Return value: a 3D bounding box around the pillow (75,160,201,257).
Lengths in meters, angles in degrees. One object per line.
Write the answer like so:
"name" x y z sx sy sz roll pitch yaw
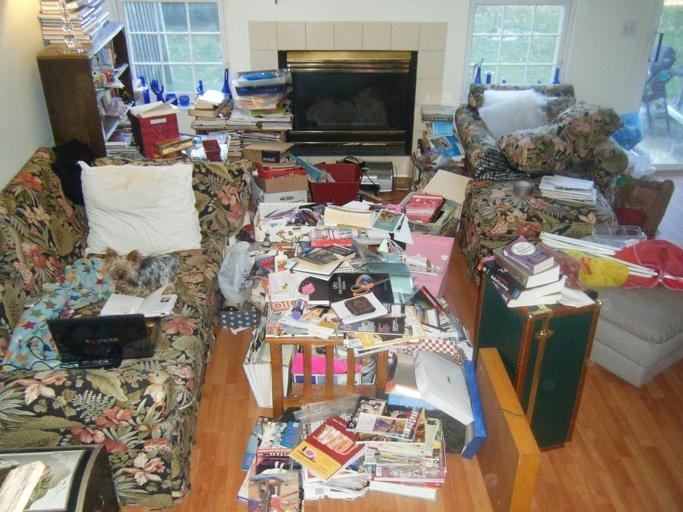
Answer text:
"pillow" -1.313 -0.283 3.276 0.746 0.552 0.223 -2 2 -10

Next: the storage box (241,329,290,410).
"storage box" -0.410 0.635 2.894 0.340 0.133 0.396 0 37 -2

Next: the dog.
"dog" -1.194 0.075 3.101 0.258 0.245 0.428 21 20 34

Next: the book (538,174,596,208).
"book" 1.682 -0.485 3.790 0.312 0.088 0.283 9 33 18

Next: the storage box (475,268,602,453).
"storage box" 0.963 0.527 2.551 0.403 0.928 0.621 -6 32 -2

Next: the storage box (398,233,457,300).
"storage box" 0.541 0.070 3.299 0.430 0.492 0.297 7 32 11

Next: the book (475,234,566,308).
"book" 0.893 0.095 2.602 0.400 0.212 0.351 -12 38 -6

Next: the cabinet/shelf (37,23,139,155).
"cabinet/shelf" -1.879 -1.197 3.745 0.423 0.800 1.265 0 38 -11

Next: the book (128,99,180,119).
"book" -1.552 -1.195 4.185 0.458 0.100 0.407 -4 23 -10

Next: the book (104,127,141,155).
"book" -1.762 -0.918 4.159 0.286 0.058 0.236 -3 54 -5

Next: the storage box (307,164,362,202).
"storage box" -0.028 -0.623 4.648 0.428 0.199 0.466 0 25 2

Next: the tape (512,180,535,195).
"tape" 1.352 -0.494 3.803 0.141 0.074 0.126 -19 42 -9

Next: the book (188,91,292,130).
"book" -0.957 -1.368 4.910 0.939 0.330 0.433 -3 27 -6

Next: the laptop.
"laptop" -1.154 0.389 2.568 0.496 0.265 0.330 -3 15 5

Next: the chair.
"chair" -0.118 0.604 2.858 0.902 0.419 0.604 0 -9 -2

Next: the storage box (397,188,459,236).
"storage box" 0.710 -0.336 4.055 0.461 0.138 0.405 11 35 3

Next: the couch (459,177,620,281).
"couch" 1.442 -0.053 3.900 1.042 0.498 0.982 -7 -3 -35

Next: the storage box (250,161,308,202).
"storage box" -0.550 -0.667 4.518 0.426 0.221 0.382 -5 34 -16

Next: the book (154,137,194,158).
"book" -1.338 -0.856 4.038 0.219 0.069 0.080 -23 53 -33
